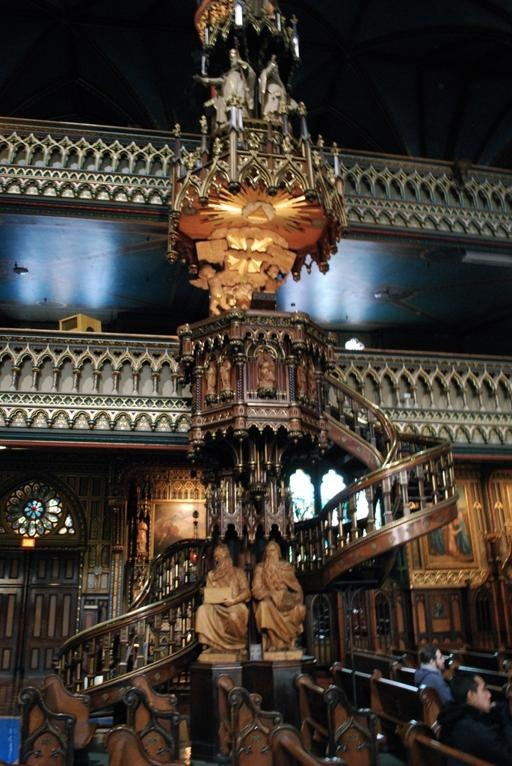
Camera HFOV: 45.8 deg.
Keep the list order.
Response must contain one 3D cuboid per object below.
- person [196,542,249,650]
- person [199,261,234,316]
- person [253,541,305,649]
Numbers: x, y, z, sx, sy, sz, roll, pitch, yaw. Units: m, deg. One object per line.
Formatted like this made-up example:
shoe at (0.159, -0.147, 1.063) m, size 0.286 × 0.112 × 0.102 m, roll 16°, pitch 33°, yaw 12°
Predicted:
person at (-0.378, 2.513, 6.931) m, size 0.615 × 1.263 × 0.324 m, roll -3°, pitch -19°, yaw -3°
person at (-0.589, -1.276, 8.346) m, size 0.551 × 0.785 × 0.225 m, roll -20°, pitch -25°, yaw 40°
person at (0.242, 2.455, 6.894) m, size 0.579 × 1.228 × 0.291 m, roll -3°, pitch -19°, yaw -2°
